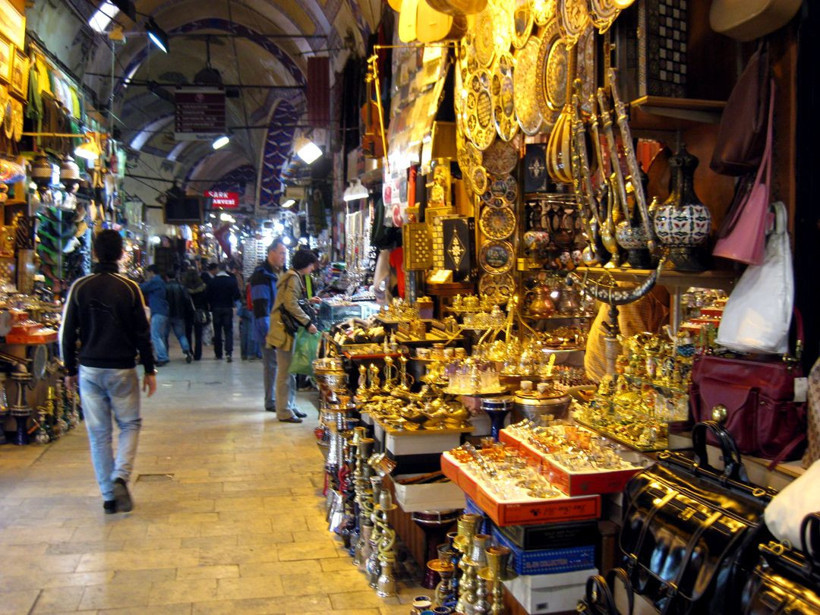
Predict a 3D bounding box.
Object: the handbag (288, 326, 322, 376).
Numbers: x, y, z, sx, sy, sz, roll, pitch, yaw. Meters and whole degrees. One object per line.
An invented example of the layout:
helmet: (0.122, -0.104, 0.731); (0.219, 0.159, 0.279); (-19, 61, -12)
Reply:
handbag: (-1.176, 0.485, 7.292); (0.278, 0.502, 0.395); (9, -18, 11)

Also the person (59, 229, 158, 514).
person: (-2.306, 0.494, 4.974); (0.664, 2.199, 0.347); (0, 3, -18)

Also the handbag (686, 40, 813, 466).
handbag: (1.345, -0.242, 2.563); (0.345, 1.631, 0.449); (1, 3, 5)

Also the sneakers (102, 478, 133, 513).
sneakers: (-2.213, 1.479, 4.931); (0.142, 0.367, 0.154); (4, 14, -1)

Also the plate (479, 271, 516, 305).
plate: (0.695, -0.153, 5.140); (0.248, 0.253, 0.074); (-2, 3, 33)

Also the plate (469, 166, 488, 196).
plate: (0.549, -1.025, 5.162); (0.047, 0.266, 0.250); (-4, 5, -15)
